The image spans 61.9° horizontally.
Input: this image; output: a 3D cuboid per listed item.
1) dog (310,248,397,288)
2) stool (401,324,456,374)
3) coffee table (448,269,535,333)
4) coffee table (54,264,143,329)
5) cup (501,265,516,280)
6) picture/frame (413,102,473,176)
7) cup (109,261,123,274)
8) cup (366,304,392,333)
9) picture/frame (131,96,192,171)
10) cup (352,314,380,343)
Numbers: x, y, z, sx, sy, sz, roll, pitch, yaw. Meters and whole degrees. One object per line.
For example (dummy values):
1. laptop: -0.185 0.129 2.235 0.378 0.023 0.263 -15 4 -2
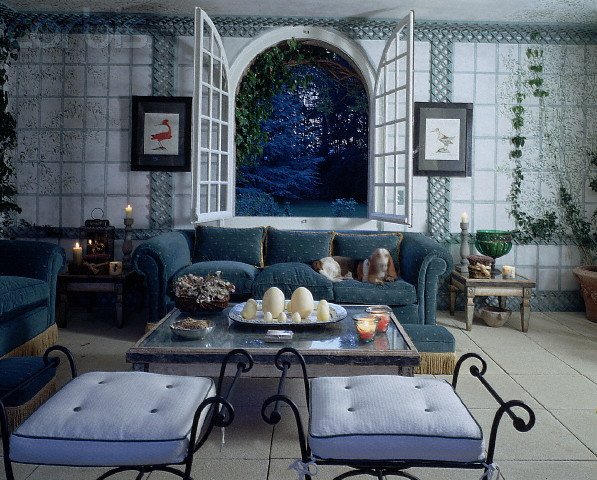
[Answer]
1. dog: 0.513 0.264 4.454 0.591 0.259 0.347 -3 -6 29
2. stool: 0.945 0.749 3.513 0.359 0.249 0.359 0 -1 4
3. coffee table: 1.903 0.482 4.867 0.600 0.453 0.799 -1 3 2
4. coffee table: -1.935 0.486 4.900 0.638 0.477 0.614 1 5 -3
5. cup: 2.064 0.324 4.898 0.124 0.117 0.123 2 3 0
6. picture/frame: 1.551 -1.103 5.291 0.786 0.952 0.090 1 0 1
7. cup: -1.755 0.274 4.822 0.103 0.108 0.102 1 -3 0
8. cup: 0.474 0.471 2.922 0.117 0.092 0.115 -1 4 0
9. picture/frame: -1.446 -1.150 5.250 0.799 1.008 0.077 0 0 -5
10. cup: 0.380 0.496 2.797 0.136 0.108 0.136 0 5 0
